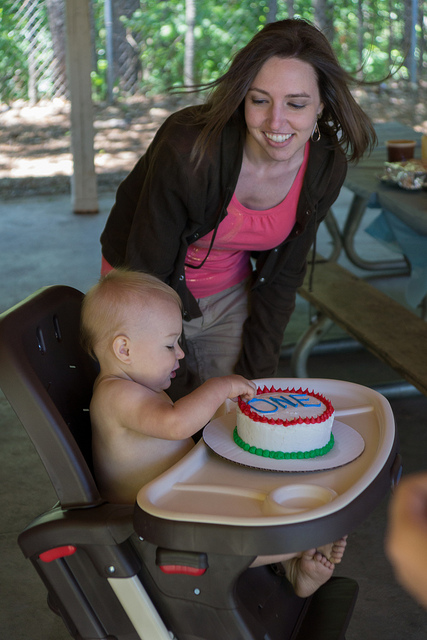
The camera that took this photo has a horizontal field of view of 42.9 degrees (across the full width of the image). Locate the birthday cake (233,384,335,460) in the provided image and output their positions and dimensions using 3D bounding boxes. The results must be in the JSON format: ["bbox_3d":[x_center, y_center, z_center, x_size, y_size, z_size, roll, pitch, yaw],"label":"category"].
[{"bbox_3d":[0.111,0.178,0.907,0.154,0.066,0.145,2,-1,11],"label":"birthday cake"}]
